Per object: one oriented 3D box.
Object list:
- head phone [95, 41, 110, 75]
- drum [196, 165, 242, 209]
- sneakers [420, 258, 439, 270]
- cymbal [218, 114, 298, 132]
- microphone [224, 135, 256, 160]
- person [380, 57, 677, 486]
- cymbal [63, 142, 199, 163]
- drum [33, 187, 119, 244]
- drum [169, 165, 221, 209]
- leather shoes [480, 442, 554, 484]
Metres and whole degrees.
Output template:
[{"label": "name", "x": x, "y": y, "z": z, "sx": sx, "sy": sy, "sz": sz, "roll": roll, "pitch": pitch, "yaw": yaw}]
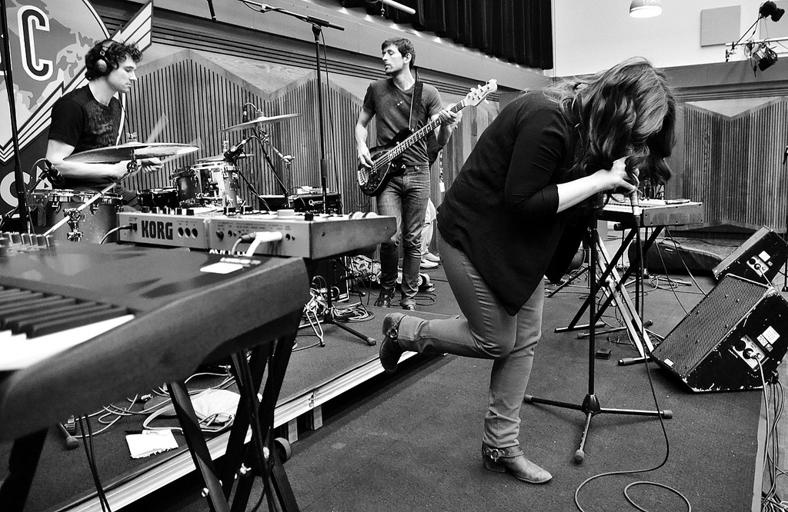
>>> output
[{"label": "head phone", "x": -1.799, "y": -1.209, "z": 3.654, "sx": 0.067, "sy": 0.188, "sz": 0.183, "roll": 8, "pitch": 9, "yaw": -5}, {"label": "drum", "x": -1.093, "y": -0.415, "z": 3.673, "sx": 0.270, "sy": 0.307, "sz": 0.290, "roll": -3, "pitch": 3, "yaw": 26}, {"label": "sneakers", "x": 0.392, "y": 0.106, "z": 6.726, "sx": 0.089, "sy": 0.125, "sz": 0.273, "roll": 0, "pitch": 0, "yaw": 40}, {"label": "cymbal", "x": -1.141, "y": -1.084, "z": 4.833, "sx": 0.316, "sy": 0.084, "sz": 0.336, "roll": -13, "pitch": 8, "yaw": 3}, {"label": "microphone", "x": -1.193, "y": -0.837, "z": 4.557, "sx": 0.223, "sy": 0.232, "sz": 0.415, "roll": 1, "pitch": -8, "yaw": -18}, {"label": "person", "x": 0.573, "y": 0.086, "z": 2.688, "sx": 1.214, "sy": 1.839, "sz": 0.412, "roll": 4, "pitch": 14, "yaw": 19}, {"label": "cymbal", "x": -1.491, "y": -0.601, "z": 3.441, "sx": 0.565, "sy": 0.131, "sz": 0.647, "roll": 13, "pitch": 20, "yaw": 43}, {"label": "drum", "x": -1.779, "y": -0.230, "z": 3.368, "sx": 0.457, "sy": 0.302, "sz": 0.259, "roll": -10, "pitch": 16, "yaw": -30}, {"label": "drum", "x": -1.215, "y": -0.408, "z": 3.618, "sx": 0.270, "sy": 0.218, "sz": 0.226, "roll": -9, "pitch": -7, "yaw": -33}, {"label": "leather shoes", "x": 0.551, "y": 0.930, "z": 2.774, "sx": 0.367, "sy": 0.178, "sz": 0.140, "roll": 2, "pitch": 1, "yaw": 22}]
